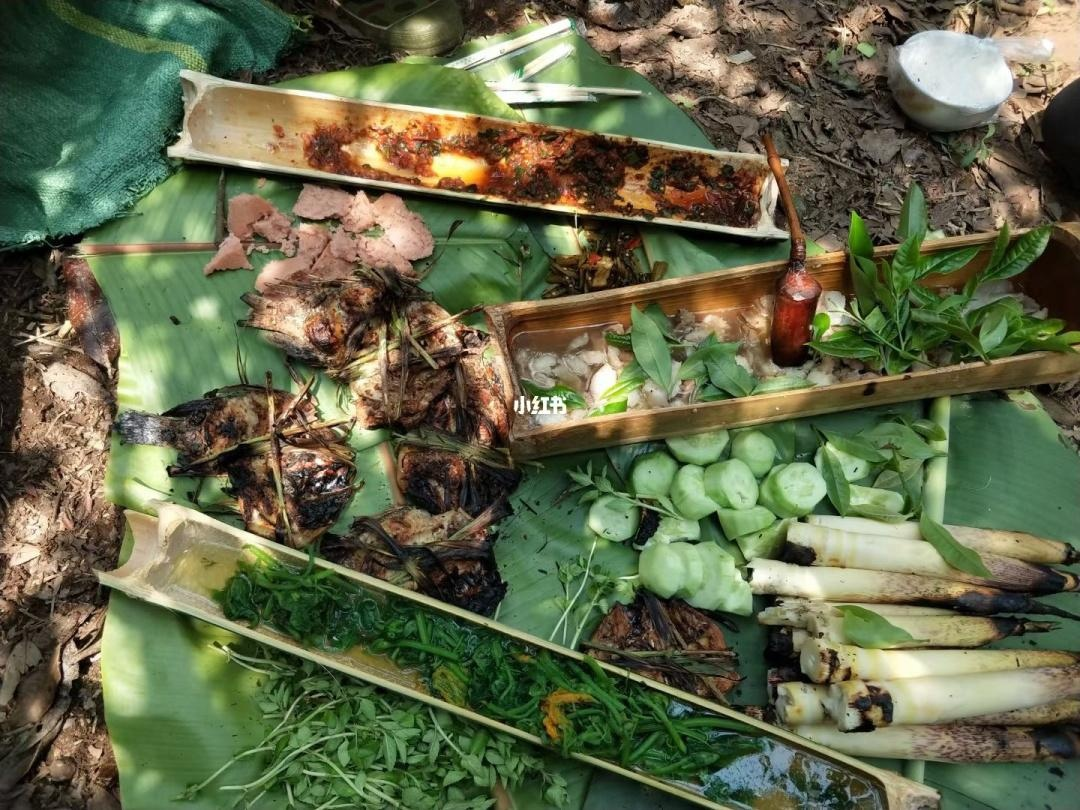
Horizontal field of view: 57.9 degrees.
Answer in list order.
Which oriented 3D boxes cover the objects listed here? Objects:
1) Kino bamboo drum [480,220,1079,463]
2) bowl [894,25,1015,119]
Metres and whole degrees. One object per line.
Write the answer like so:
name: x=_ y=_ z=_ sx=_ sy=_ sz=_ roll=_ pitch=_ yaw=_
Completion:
Kino bamboo drum: x=1.300 y=-0.339 z=5.155 sx=3.081 sy=0.453 sz=0.833 roll=-9 pitch=79 yaw=3
bowl: x=2.464 y=-1.937 z=5.834 sx=0.604 sy=0.296 sz=0.535 roll=-6 pitch=79 yaw=4
